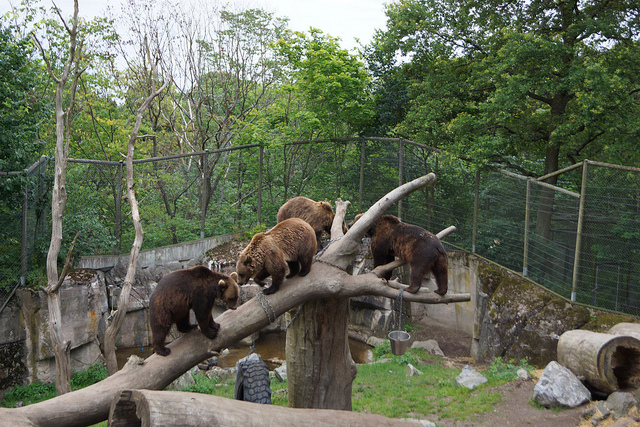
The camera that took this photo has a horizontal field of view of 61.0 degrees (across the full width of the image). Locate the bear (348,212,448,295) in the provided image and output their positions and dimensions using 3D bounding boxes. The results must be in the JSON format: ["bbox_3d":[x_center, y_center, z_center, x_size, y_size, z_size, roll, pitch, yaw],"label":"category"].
[{"bbox_3d":[1.961,0.869,11.969,1.662,1.703,0.693,1,-5,9],"label":"bear"}]

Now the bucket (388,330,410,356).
[{"bbox_3d":[2.223,3.664,15.233,0.530,0.658,0.572,2,-5,0],"label":"bucket"}]

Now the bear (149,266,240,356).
[{"bbox_3d":[-2.709,1.748,11.252,2.071,1.740,1.220,-10,16,-15],"label":"bear"}]

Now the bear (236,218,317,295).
[{"bbox_3d":[-0.932,0.848,11.439,1.865,1.390,0.919,-21,23,-29],"label":"bear"}]

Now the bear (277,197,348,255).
[{"bbox_3d":[-0.199,0.333,13.267,1.853,1.455,0.852,7,-1,-1],"label":"bear"}]
